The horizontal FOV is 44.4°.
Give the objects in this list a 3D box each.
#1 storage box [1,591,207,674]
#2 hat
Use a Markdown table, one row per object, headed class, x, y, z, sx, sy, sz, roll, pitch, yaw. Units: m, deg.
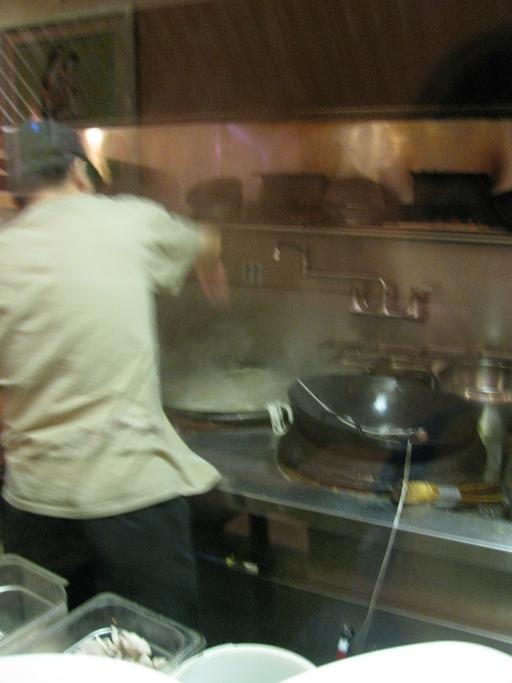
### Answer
| class | x | y | z | sx | sy | sz | roll | pitch | yaw |
| --- | --- | --- | --- | --- | --- | --- | --- | --- | --- |
| storage box | -0.151 | 0.312 | 0.655 | 0.188 | 0.039 | 0.108 | 4 | 13 | 21 |
| hat | -0.223 | -0.214 | 0.731 | 0.108 | 0.088 | 0.026 | 2 | 28 | 30 |
